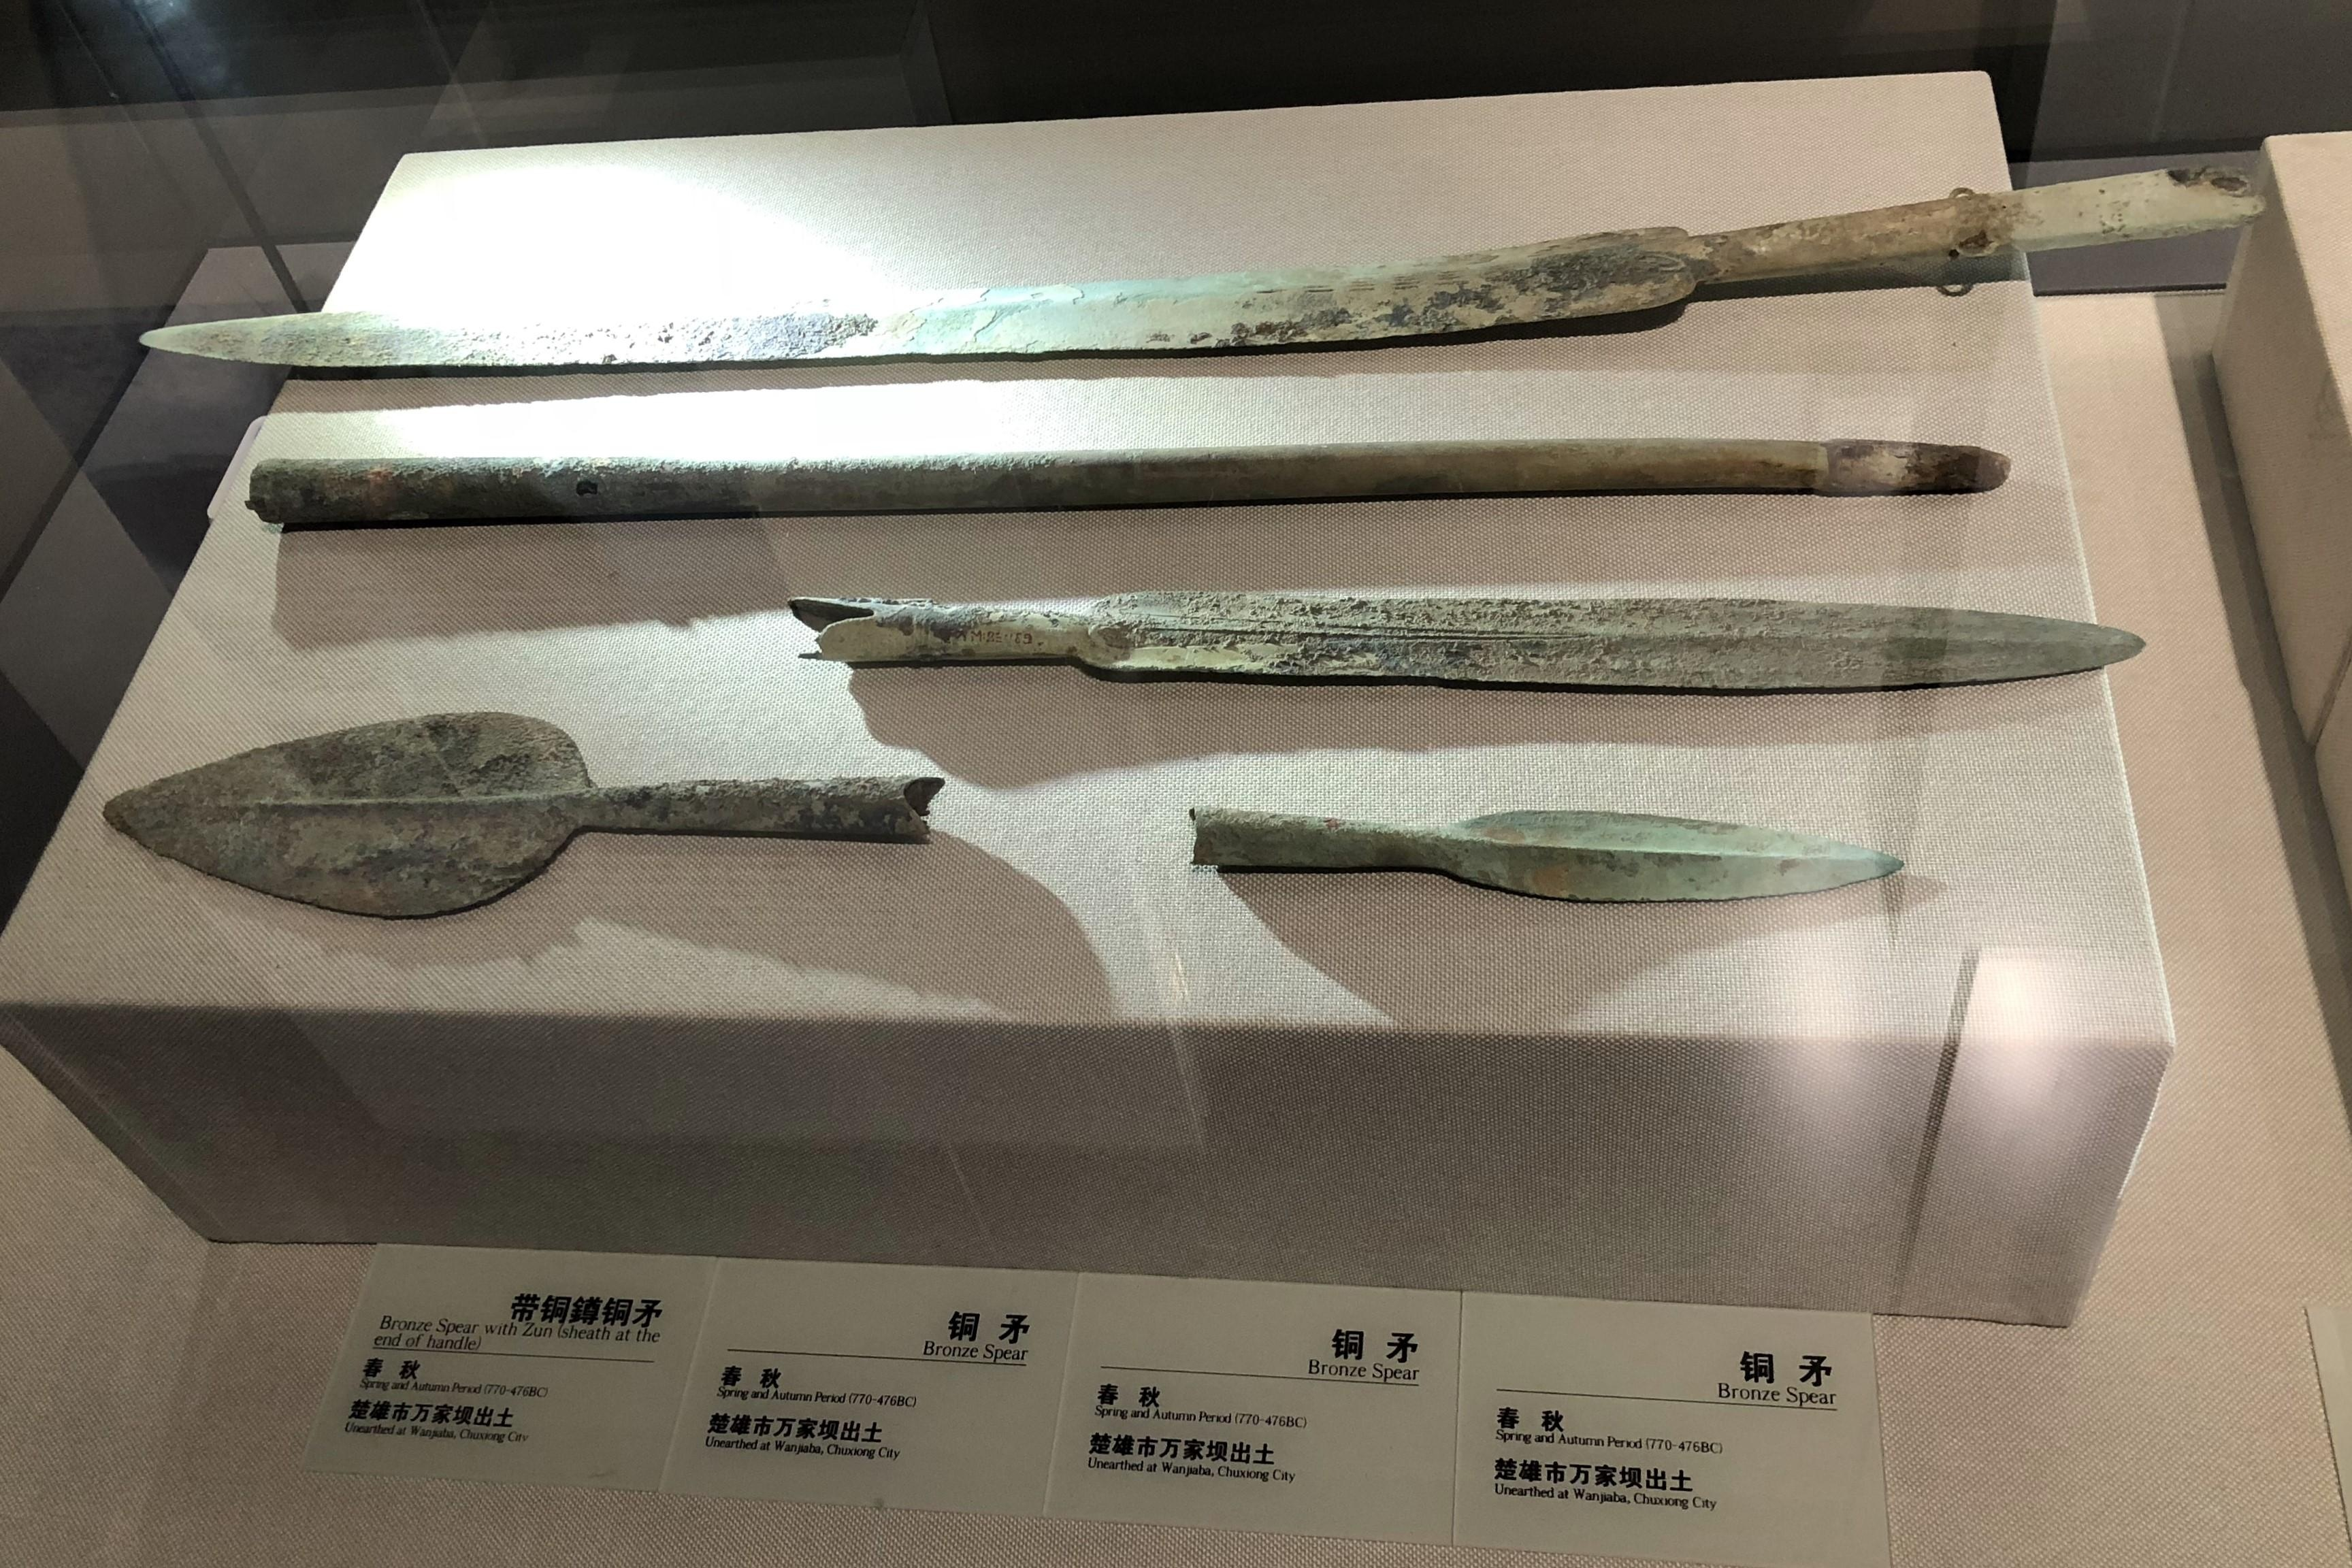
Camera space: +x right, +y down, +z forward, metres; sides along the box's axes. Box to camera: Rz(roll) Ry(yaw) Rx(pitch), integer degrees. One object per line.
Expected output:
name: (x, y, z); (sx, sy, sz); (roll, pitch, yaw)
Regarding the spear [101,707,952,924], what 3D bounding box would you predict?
spear: (-0.785, 0.108, 2.993); (1.315, 0.427, 0.135); (-3, -31, 5)
